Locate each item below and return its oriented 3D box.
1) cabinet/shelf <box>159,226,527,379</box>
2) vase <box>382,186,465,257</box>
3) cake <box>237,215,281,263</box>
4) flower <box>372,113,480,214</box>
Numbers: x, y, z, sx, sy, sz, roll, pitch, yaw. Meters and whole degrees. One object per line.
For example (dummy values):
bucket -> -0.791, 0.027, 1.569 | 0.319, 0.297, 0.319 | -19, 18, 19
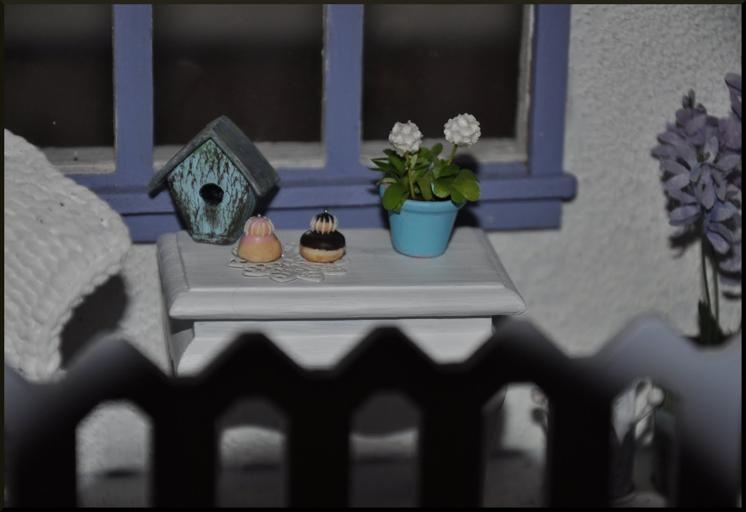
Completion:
cabinet/shelf -> -0.104, 0.098, 2.217 | 0.919, 0.371, 0.450 | -4, 4, -13
vase -> 0.130, -0.083, 2.256 | 0.201, 0.142, 0.201 | 0, 11, -24
cake -> -0.291, -0.036, 2.203 | 0.112, 0.117, 0.115 | 11, 22, 23
flower -> 0.144, -0.227, 2.150 | 0.237, 0.221, 0.284 | 1, 23, 1
